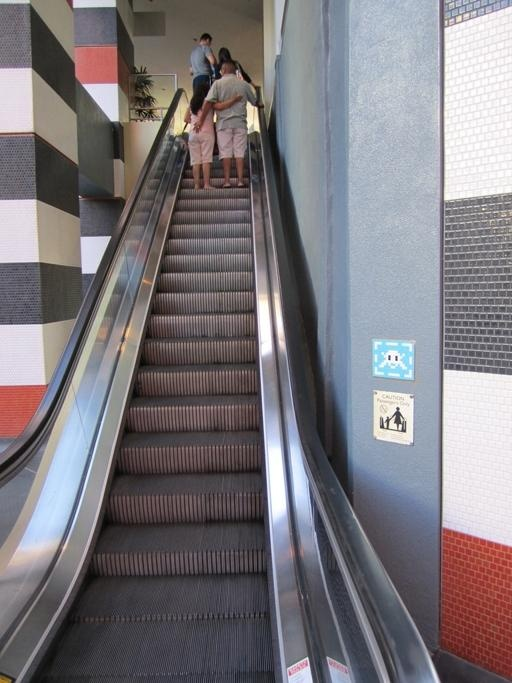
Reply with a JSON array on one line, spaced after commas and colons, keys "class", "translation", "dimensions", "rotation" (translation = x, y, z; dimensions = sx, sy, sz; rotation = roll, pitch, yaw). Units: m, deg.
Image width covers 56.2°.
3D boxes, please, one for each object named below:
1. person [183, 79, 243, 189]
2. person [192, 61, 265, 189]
[{"class": "person", "translation": [-0.610, -2.481, 5.867], "dimensions": [0.461, 1.501, 0.372], "rotation": [-2, -15, 3]}, {"class": "person", "translation": [-0.370, -2.572, 5.707], "dimensions": [0.659, 1.401, 0.437], "rotation": [6, 10, -3]}]
